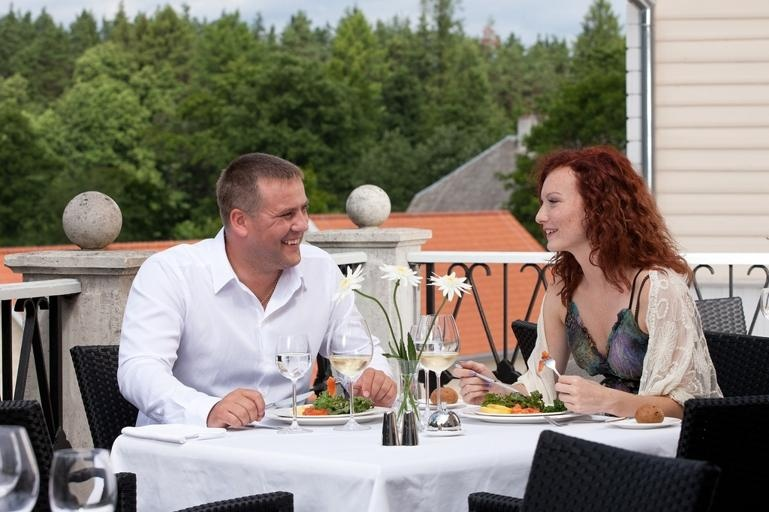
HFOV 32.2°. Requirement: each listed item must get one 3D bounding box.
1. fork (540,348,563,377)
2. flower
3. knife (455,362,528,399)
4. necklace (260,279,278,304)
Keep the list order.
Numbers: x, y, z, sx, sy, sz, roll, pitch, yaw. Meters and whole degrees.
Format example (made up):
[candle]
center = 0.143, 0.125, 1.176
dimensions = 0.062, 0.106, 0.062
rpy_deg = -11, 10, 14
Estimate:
[fork]
center = 0.916, 0.601, 7.211
dimensions = 0.037, 0.064, 0.236
rpy_deg = 26, -21, 40
[flower]
center = 0.066, 0.469, 7.253
dimensions = 0.808, 0.967, 0.759
rpy_deg = 5, -4, -18
[knife]
center = 0.567, 0.659, 7.207
dimensions = 0.310, 0.210, 0.150
rpy_deg = -14, -38, 3
[necklace]
center = -0.634, 0.215, 7.366
dimensions = 0.094, 0.132, 0.048
rpy_deg = 17, -20, -4
